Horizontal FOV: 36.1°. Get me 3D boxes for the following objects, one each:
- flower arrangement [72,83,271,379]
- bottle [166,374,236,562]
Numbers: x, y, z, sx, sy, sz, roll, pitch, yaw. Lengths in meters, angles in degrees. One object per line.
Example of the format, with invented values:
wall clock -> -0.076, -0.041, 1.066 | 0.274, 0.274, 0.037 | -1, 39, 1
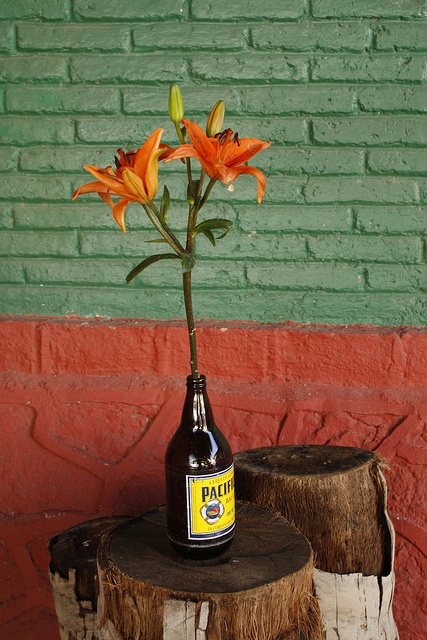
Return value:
flower arrangement -> -0.106, -0.180, 1.289 | 0.293, 0.503, 0.764 | -4, 13, -9
bottle -> -0.023, 0.236, 1.047 | 0.118, 0.285, 0.111 | -1, 15, 0
